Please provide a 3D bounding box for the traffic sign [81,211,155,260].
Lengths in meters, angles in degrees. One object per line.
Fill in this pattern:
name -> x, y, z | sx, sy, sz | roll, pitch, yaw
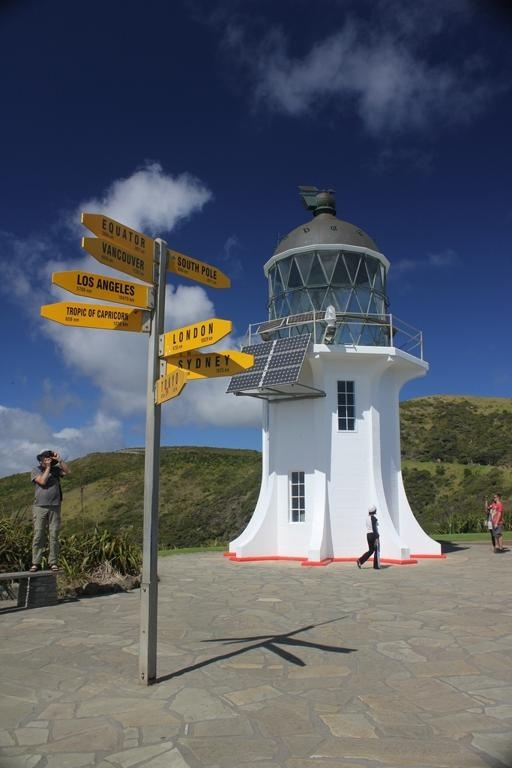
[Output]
traffic sign -> -1.280, -1.399, 6.136 | 0.130, 0.256, 0.897 | -5, -9, 32

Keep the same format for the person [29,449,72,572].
person -> -3.213, 1.961, 10.025 | 0.541, 1.819, 0.593 | 2, -8, -16

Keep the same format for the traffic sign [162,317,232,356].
traffic sign -> -0.581, -0.439, 6.126 | 0.156, 0.264, 0.935 | 7, -10, -40

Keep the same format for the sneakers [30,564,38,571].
sneakers -> -3.311, 2.752, 9.686 | 0.119, 0.114, 0.232 | 3, -8, -20

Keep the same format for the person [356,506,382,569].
person -> 2.664, 3.661, 15.365 | 0.487, 1.370, 0.635 | -1, -8, 8

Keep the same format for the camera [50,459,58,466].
camera -> -3.169, 1.224, 10.186 | 0.082, 0.083, 0.095 | 4, -10, -27
